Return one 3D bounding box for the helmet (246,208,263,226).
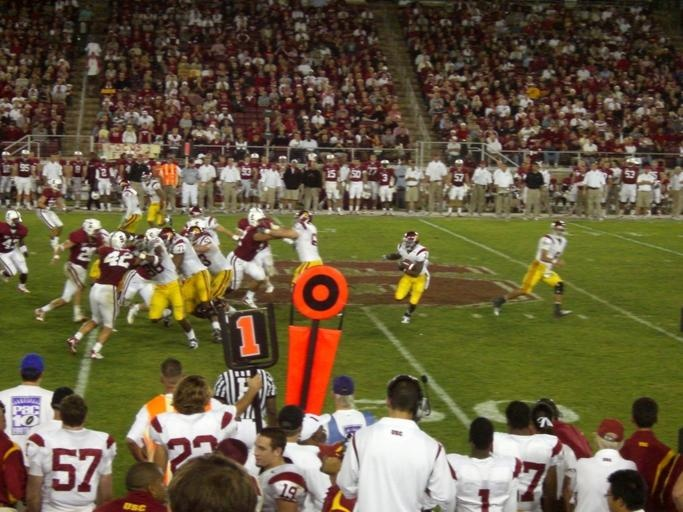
[{"bbox_3d":[-1.295,-0.590,13.125,0.262,0.281,0.486,-1,2,-7],"label":"helmet"}]

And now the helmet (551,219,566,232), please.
[{"bbox_3d":[3.342,-0.467,13.287,0.190,0.141,0.235,1,-2,-36],"label":"helmet"}]

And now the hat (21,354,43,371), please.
[{"bbox_3d":[-2.539,0.861,7.083,0.160,0.128,0.186,-1,2,-12],"label":"hat"}]

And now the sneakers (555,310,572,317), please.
[{"bbox_3d":[3.253,0.833,12.692,0.134,0.068,0.290,7,-5,-29],"label":"sneakers"}]

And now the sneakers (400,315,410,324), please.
[{"bbox_3d":[0.919,0.908,12.405,0.114,0.055,0.150,10,-4,1],"label":"sneakers"}]

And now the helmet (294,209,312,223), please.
[{"bbox_3d":[-0.585,-0.592,12.636,0.284,0.180,0.211,-1,6,38],"label":"helmet"}]

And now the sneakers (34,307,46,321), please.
[{"bbox_3d":[-4.120,0.795,11.857,0.237,0.156,0.195,0,-10,-7],"label":"sneakers"}]

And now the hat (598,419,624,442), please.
[{"bbox_3d":[2.087,1.345,6.712,0.183,0.172,0.205,6,22,10],"label":"hat"}]

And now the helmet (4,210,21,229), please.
[{"bbox_3d":[-5.091,-0.586,13.364,0.198,0.255,0.469,-2,2,-20],"label":"helmet"}]

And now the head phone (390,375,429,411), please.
[{"bbox_3d":[0.453,0.948,5.748,0.257,0.166,0.178,17,-15,-22],"label":"head phone"}]

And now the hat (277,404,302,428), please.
[{"bbox_3d":[-0.373,1.173,6.315,0.178,0.172,0.143,-1,2,-9],"label":"hat"}]

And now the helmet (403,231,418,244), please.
[{"bbox_3d":[0.970,-0.273,12.102,0.246,0.126,0.156,2,3,0],"label":"helmet"}]

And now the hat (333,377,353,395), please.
[{"bbox_3d":[0.012,1.040,6.976,0.155,0.160,0.163,-1,2,4],"label":"hat"}]
